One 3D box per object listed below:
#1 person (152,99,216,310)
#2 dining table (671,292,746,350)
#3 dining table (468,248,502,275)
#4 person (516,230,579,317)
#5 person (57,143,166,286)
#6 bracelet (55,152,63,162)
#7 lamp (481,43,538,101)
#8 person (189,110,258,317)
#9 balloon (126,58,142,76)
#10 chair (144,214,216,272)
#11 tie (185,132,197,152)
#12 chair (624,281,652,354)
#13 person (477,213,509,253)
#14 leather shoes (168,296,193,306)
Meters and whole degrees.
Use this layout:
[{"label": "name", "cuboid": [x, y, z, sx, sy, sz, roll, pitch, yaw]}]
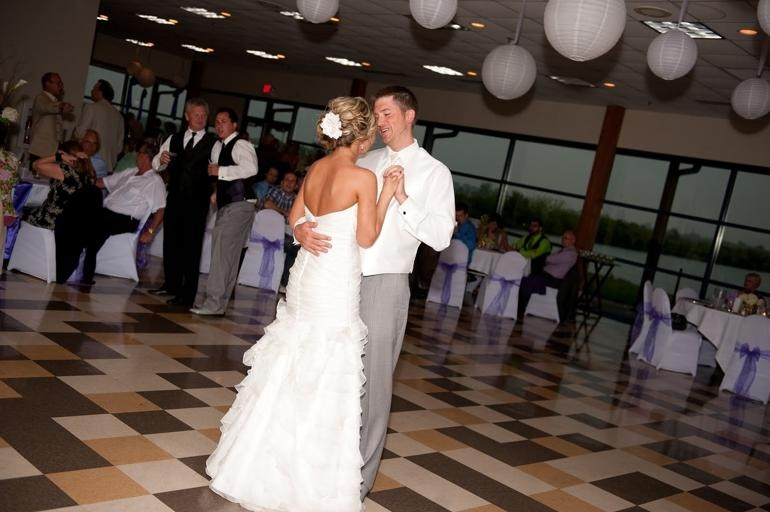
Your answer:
[{"label": "person", "cuboid": [-2.252, -0.617, 5.897, 0.739, 2.271, 0.683, 7, 1, -1]}, {"label": "dining table", "cuboid": [4.879, 0.978, 8.024, 0.592, 0.335, 0.613, 18, 8, -16]}, {"label": "dining table", "cuboid": [1.945, 0.072, 10.149, 0.504, 0.265, 0.520, 25, 6, 8]}, {"label": "person", "cuboid": [3.022, 0.328, 9.938, 0.949, 1.555, 0.594, 8, 5, -13]}, {"label": "person", "cuboid": [-3.460, -0.590, 6.533, 0.925, 1.852, 1.111, 12, -3, 22]}, {"label": "bracelet", "cuboid": [-3.707, -1.127, 5.937, 0.103, 0.118, 0.034, 12, 5, 25]}, {"label": "lamp", "cuboid": [1.528, -2.247, 6.589, 0.625, 0.779, 0.654, 2, 7, 2]}, {"label": "person", "cuboid": [-1.787, -0.529, 5.958, 0.759, 2.270, 0.552, -3, -6, 42]}, {"label": "balloon", "cuboid": [-7.365, -5.538, 15.474, 0.374, 0.442, 0.611, 7, 5, -35]}, {"label": "chair", "cuboid": [-2.912, -0.129, 8.113, 1.298, 0.985, 0.591, 8, 2, 37]}, {"label": "tie", "cuboid": [-2.150, -1.260, 5.805, 0.031, 0.226, 0.025, 20, -9, 12]}, {"label": "chair", "cuboid": [4.588, 1.124, 9.448, 0.313, 1.184, 0.311, 0, 29, 1]}, {"label": "person", "cuboid": [2.252, -0.465, 10.952, 0.784, 0.833, 0.476, 8, 0, 8]}, {"label": "leather shoes", "cuboid": [-2.339, 0.511, 6.024, 0.301, 0.140, 0.107, 1, 2, 6]}]
